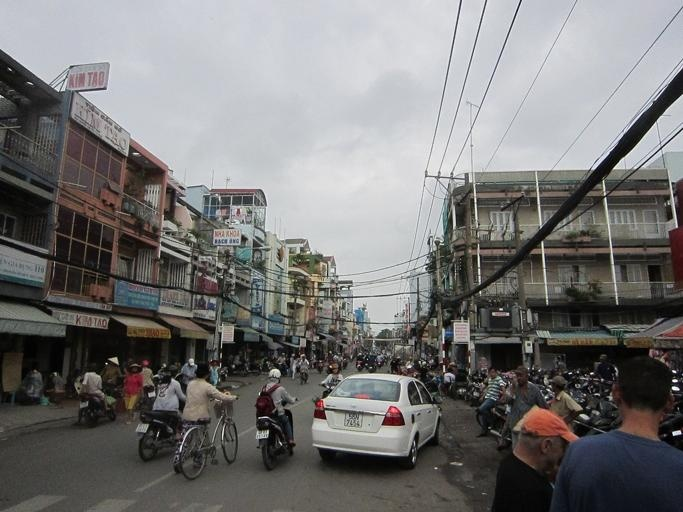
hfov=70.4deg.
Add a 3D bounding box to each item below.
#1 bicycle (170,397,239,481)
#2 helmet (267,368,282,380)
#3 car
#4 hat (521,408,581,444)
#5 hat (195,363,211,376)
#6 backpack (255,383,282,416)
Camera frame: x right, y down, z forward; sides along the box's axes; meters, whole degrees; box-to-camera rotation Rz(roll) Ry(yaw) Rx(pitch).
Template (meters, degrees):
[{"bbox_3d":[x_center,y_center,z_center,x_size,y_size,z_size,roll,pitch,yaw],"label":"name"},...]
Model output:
[{"bbox_3d":[-2.442,3.278,9.123,0.963,1.308,2.075,-7,-11,13],"label":"bicycle"},{"bbox_3d":[-1.300,2.278,9.386,0.206,0.256,0.272,0,-1,6],"label":"helmet"},{"bbox_3d":[0.872,3.135,9.688,1.286,1.045,2.598,-3,-10,20],"label":"car"},{"bbox_3d":[1.783,1.411,4.085,0.415,0.225,0.278,0,-1,21],"label":"hat"},{"bbox_3d":[-2.583,2.109,9.043,0.223,0.278,0.289,0,-23,-6],"label":"hat"},{"bbox_3d":[-1.394,2.755,9.236,0.375,0.594,0.612,-7,-13,17],"label":"backpack"}]
